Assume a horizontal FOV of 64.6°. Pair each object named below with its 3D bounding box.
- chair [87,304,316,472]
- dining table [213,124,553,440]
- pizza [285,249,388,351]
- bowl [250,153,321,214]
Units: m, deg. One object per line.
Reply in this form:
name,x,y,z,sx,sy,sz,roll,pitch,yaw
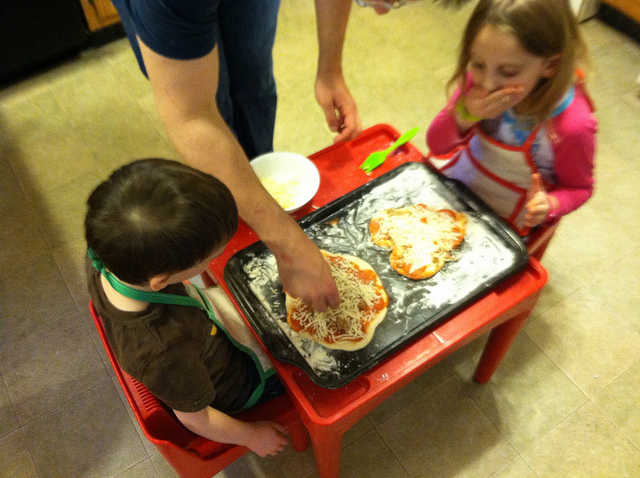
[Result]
chair,-0.342,0.483,1.610,0.359,0.526,0.375,-29,61,-19
dining table,0.210,0.253,2.280,1.164,1.127,1.161,-33,61,-20
pizza,0.058,0.198,1.624,0.345,0.052,0.377,-5,49,-13
bowl,-0.134,-0.207,1.993,0.245,0.067,0.255,-1,53,1
